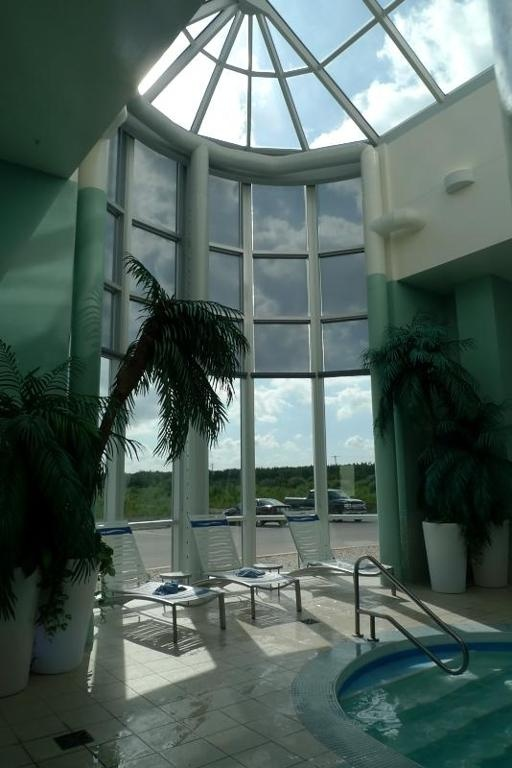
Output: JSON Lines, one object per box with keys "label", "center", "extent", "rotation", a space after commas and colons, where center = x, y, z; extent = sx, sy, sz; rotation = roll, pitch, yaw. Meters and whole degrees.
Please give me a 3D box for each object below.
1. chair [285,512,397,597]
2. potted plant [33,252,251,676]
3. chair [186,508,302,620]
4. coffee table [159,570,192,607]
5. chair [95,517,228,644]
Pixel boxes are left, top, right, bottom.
{"label": "chair", "center": [1.068, 2.322, 7.250], "extent": [1.368, 0.966, 0.770], "rotation": [-2, -10, 45]}
{"label": "potted plant", "center": [-1.069, 0.566, 5.050], "extent": [1.408, 3.594, 1.559], "rotation": [8, -12, 22]}
{"label": "chair", "center": [-0.202, 2.158, 6.346], "extent": [0.732, 1.010, 1.402], "rotation": [6, -12, -36]}
{"label": "coffee table", "center": [-0.927, 2.311, 6.213], "extent": [0.382, 0.465, 0.393], "rotation": [1, -2, -21]}
{"label": "chair", "center": [-1.141, 2.087, 5.672], "extent": [1.454, 1.033, 0.695], "rotation": [-6, -10, 38]}
